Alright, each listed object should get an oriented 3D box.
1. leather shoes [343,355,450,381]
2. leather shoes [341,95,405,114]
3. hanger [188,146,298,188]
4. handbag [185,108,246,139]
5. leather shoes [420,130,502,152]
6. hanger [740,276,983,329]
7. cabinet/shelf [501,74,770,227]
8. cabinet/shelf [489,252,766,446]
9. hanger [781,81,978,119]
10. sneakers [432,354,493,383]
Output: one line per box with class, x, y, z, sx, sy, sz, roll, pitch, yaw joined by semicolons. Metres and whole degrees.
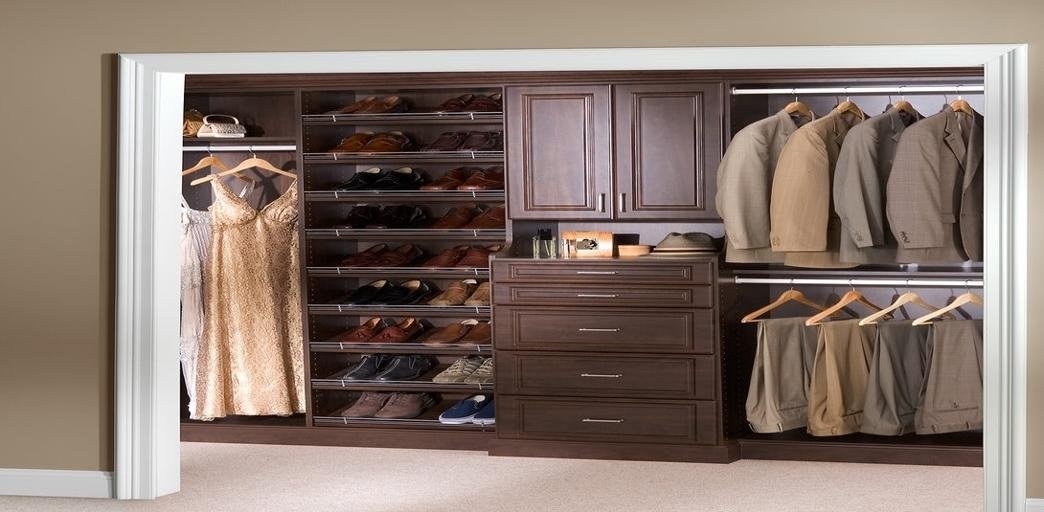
leather shoes;-1.060;0.865;6.183;0.357;0.092;0.390;0;1;28
leather shoes;-1.172;-1.203;6.111;0.446;0.080;0.222;-6;8;-37
hanger;-2.278;-0.740;6.346;0.773;0.258;0.495;-1;0;-12
handbag;-2.453;-1.072;6.185;0.457;0.104;0.257;1;3;26
leather shoes;-0.456;-0.921;6.119;0.358;0.082;0.365;0;2;9
hanger;2.546;0.318;5.914;1.795;0.349;0.478;-1;0;6
cabinet/shelf;1.025;-0.860;6.172;0.866;1.110;2.343;-11;13;-35
cabinet/shelf;0.735;0.717;5.786;2.464;1.230;0.750;0;1;5
hanger;2.588;-1.186;5.857;1.757;0.221;0.429;-1;0;6
sneakers;-0.468;0.909;6.164;0.469;0.200;0.278;-2;0;3
